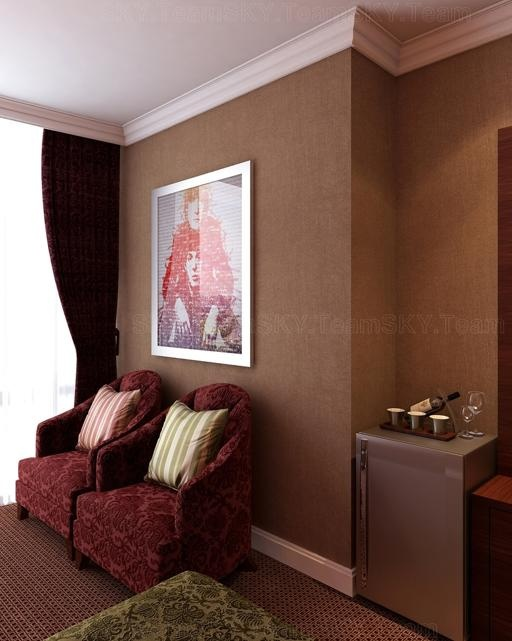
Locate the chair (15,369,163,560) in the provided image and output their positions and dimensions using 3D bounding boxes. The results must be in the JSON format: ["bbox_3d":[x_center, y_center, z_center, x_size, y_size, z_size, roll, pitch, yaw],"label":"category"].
[{"bbox_3d":[-1.003,0.797,3.084,0.623,0.800,0.711,8,5,24],"label":"chair"}]

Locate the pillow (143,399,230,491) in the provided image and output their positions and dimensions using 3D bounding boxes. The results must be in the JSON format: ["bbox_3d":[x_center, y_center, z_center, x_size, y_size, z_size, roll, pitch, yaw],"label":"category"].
[{"bbox_3d":[-0.370,0.639,2.636,0.229,0.426,0.476,12,-12,-38],"label":"pillow"}]

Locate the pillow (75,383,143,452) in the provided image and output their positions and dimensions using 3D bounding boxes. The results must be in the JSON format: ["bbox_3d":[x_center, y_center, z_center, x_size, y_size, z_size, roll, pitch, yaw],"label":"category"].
[{"bbox_3d":[-0.938,0.620,3.196,0.462,0.387,0.219,-14,-25,41],"label":"pillow"}]

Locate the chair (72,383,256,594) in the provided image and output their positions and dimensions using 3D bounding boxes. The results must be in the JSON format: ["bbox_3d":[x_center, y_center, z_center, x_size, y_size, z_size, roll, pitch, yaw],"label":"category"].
[{"bbox_3d":[-0.416,0.795,2.516,0.770,0.857,0.746,2,1,-40],"label":"chair"}]

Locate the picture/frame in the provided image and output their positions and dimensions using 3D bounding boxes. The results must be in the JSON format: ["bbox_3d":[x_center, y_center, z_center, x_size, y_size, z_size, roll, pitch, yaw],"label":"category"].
[{"bbox_3d":[-0.305,-0.347,3.129,0.054,1.535,1.367,1,0,-40],"label":"picture/frame"}]

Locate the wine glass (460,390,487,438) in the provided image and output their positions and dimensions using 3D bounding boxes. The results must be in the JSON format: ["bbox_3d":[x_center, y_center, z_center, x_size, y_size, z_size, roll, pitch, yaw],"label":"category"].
[{"bbox_3d":[0.966,0.412,2.296,0.094,0.218,0.291,0,1,23],"label":"wine glass"}]
